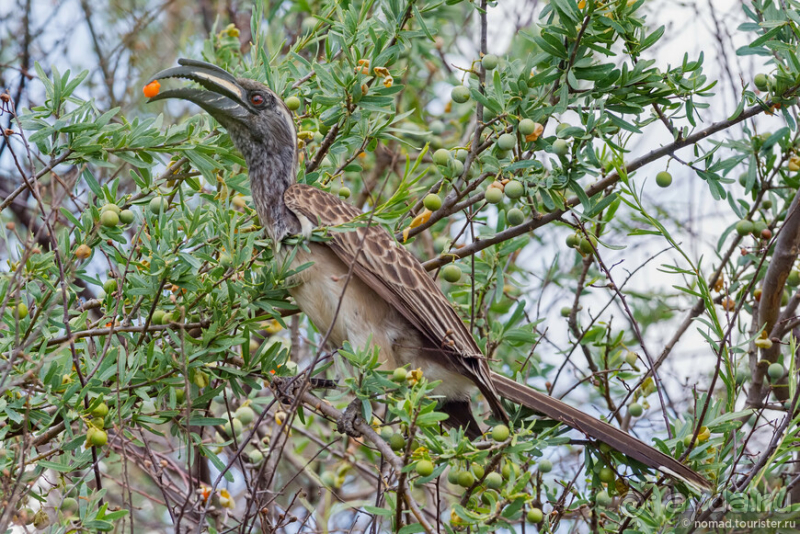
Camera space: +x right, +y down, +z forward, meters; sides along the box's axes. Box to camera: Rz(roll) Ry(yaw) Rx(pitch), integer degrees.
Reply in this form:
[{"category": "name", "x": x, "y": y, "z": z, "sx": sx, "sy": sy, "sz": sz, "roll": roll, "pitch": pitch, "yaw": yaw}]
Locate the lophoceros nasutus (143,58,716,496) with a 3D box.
[{"category": "lophoceros nasutus", "x": 0.081, "y": 0.069, "z": 4.839, "sx": 2.732, "sy": 1.701, "sz": 0.707, "roll": 13, "pitch": -27, "yaw": -6}]
